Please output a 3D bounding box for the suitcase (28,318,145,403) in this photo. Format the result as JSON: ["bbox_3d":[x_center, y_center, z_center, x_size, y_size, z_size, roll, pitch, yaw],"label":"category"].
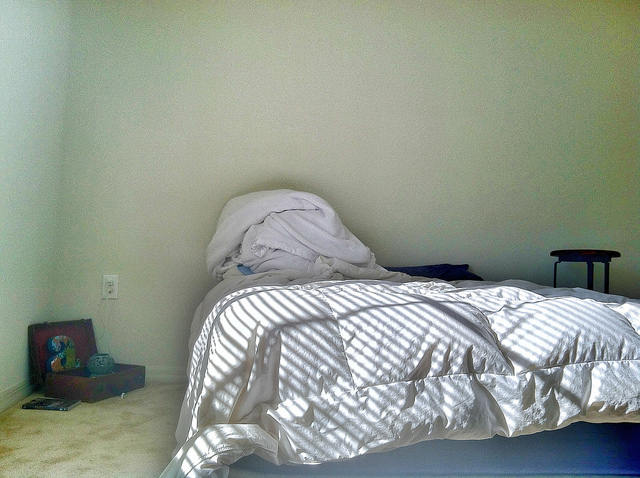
[{"bbox_3d":[-1.164,0.582,2.733,0.433,0.351,0.431,2,-1,14],"label":"suitcase"}]

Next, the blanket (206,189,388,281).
[{"bbox_3d":[-0.181,-0.040,2.561,0.560,0.241,0.558,3,5,-5],"label":"blanket"}]

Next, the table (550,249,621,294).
[{"bbox_3d":[1.420,0.186,2.915,0.322,0.250,0.324,-3,3,-20],"label":"table"}]

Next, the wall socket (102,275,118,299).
[{"bbox_3d":[-1.154,0.259,2.978,0.079,0.125,0.036,-1,9,-20],"label":"wall socket"}]
